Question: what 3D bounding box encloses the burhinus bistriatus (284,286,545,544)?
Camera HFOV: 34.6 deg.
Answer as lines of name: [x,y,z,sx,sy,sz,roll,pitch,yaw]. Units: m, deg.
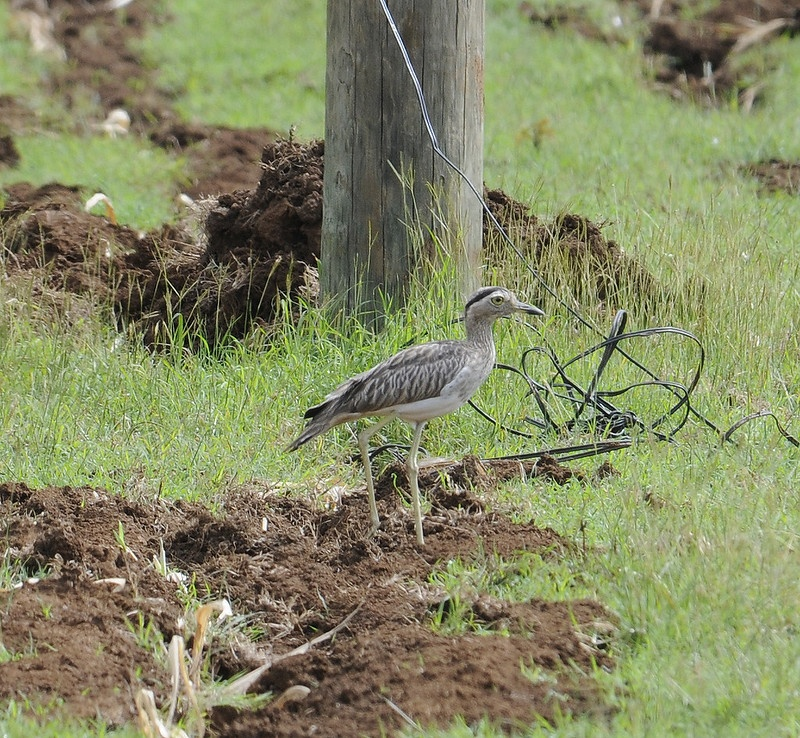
burhinus bistriatus: [0.118,0.188,5.701,1.174,0.794,0.511,-24,34,-33]
